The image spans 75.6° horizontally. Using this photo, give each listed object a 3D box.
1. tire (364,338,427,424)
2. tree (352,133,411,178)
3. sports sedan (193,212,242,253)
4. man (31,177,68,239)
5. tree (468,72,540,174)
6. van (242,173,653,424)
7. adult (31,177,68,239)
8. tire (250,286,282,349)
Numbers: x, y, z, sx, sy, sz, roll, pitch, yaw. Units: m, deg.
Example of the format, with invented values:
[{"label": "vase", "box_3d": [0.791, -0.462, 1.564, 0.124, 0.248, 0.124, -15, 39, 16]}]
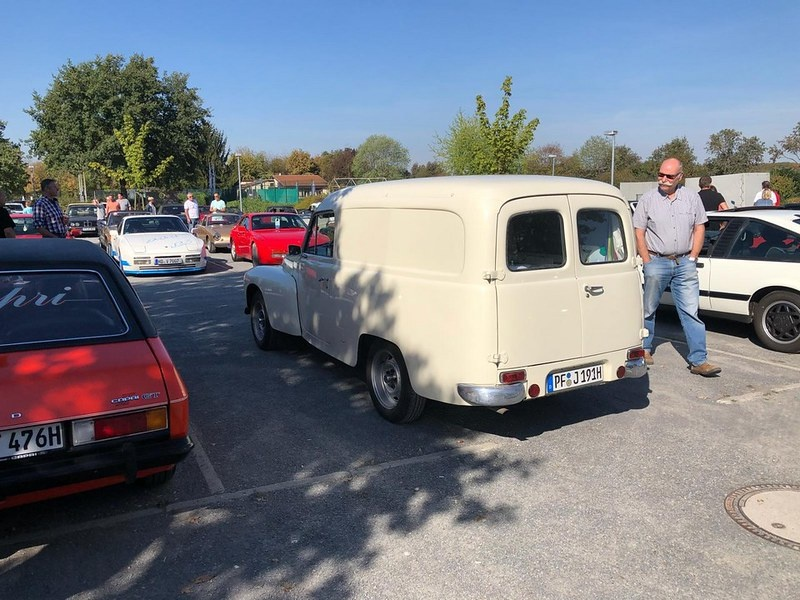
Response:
[{"label": "tire", "box_3d": [-0.031, 0.796, 5.089, 0.243, 0.852, 0.681, 0, -10, -33]}, {"label": "tree", "box_3d": [-4.691, -33.253, 118.302, 12.062, 8.916, 9.751, -1, 11, -2]}, {"label": "sports sedan", "box_3d": [-7.617, -2.874, 21.636, 1.501, 1.211, 3.026, -6, 9, -31]}, {"label": "man", "box_3d": [-6.548, -1.710, 9.595, 0.510, 1.093, 1.823, -8, 14, -33]}, {"label": "tree", "box_3d": [4.864, -8.190, 24.407, 2.424, 4.124, 3.523, 1, 11, 8]}, {"label": "van", "box_3d": [0.241, -0.196, 5.776, 2.049, 1.780, 3.688, -6, 15, -36]}, {"label": "adult", "box_3d": [-6.507, -1.697, 9.534, 0.510, 1.093, 1.566, -8, 14, -33]}, {"label": "tire", "box_3d": [-1.947, 0.245, 7.524, 0.242, 0.825, 0.726, -7, 12, -33]}]
